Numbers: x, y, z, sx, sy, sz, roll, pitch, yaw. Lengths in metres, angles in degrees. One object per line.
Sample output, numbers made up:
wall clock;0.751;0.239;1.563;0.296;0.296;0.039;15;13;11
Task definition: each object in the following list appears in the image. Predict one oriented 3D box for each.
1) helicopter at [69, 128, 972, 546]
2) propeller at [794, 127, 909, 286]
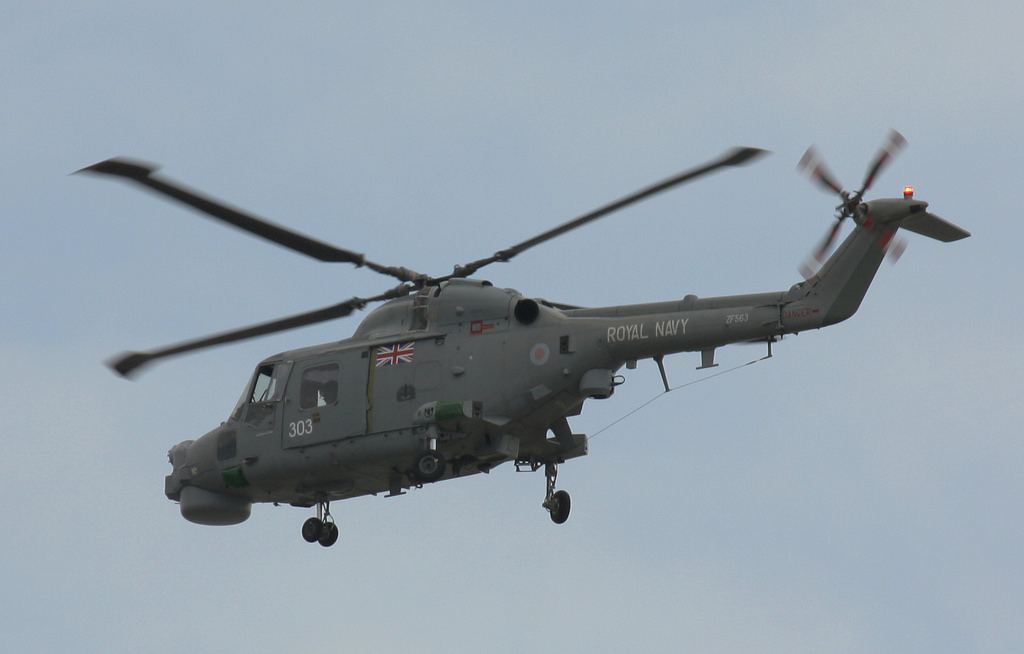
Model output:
helicopter;-0.296;0.383;31.257;20.451;7.050;7.464;4;-87;16
propeller;6.614;-2.236;31.463;1.981;1.099;2.633;-1;-66;12
